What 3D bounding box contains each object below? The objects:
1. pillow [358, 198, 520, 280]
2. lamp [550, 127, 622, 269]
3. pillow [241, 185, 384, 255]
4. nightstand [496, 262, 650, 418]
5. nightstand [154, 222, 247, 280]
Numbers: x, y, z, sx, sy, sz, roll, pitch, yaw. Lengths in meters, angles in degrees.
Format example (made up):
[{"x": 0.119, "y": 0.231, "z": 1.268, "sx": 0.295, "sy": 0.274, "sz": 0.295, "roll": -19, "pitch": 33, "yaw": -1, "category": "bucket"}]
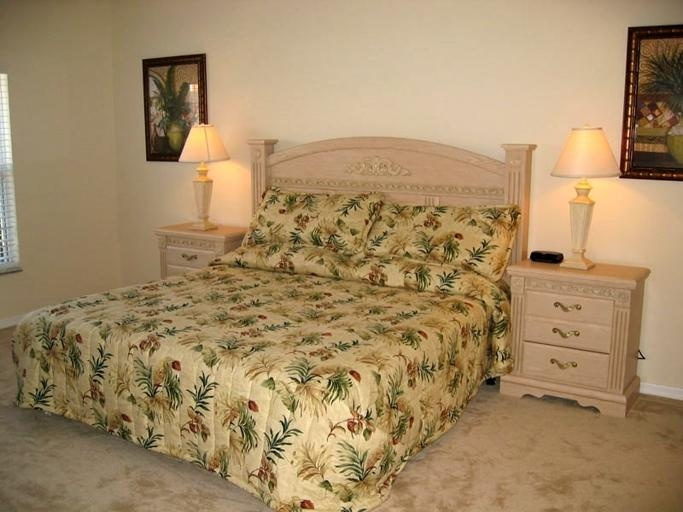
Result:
[{"x": 0.615, "y": -0.002, "z": 4.158, "sx": 0.897, "sy": 0.312, "sz": 1.225, "roll": 10, "pitch": -14, "yaw": -17, "category": "pillow"}, {"x": 1.659, "y": -0.401, "z": 3.644, "sx": 0.387, "sy": 0.930, "sz": 0.446, "roll": 11, "pitch": 16, "yaw": 33, "category": "lamp"}, {"x": -0.264, "y": -0.261, "z": 4.143, "sx": 0.832, "sy": 0.568, "sz": 0.146, "roll": 8, "pitch": -27, "yaw": 27, "category": "pillow"}, {"x": 1.623, "y": 0.514, "z": 3.726, "sx": 0.821, "sy": 0.895, "sz": 0.660, "roll": 6, "pitch": 12, "yaw": 30, "category": "nightstand"}, {"x": -1.312, "y": 0.069, "z": 4.973, "sx": 0.709, "sy": 0.641, "sz": 0.426, "roll": 8, "pitch": 14, "yaw": 17, "category": "nightstand"}]
